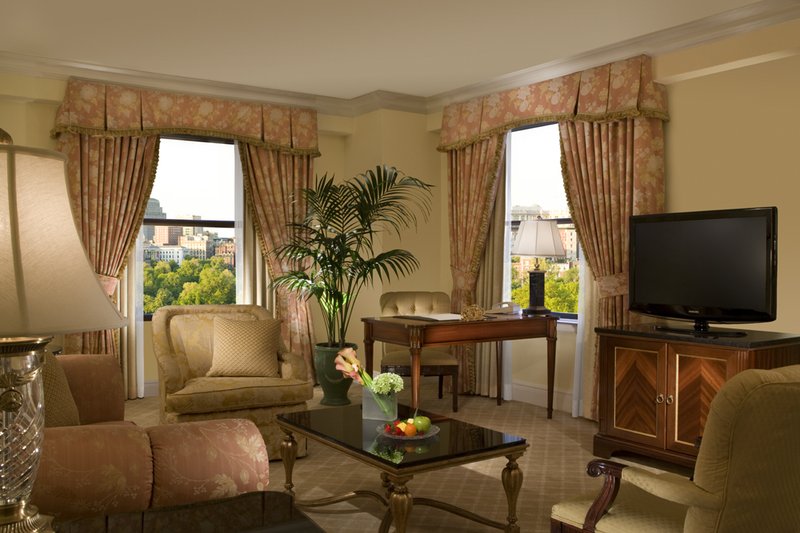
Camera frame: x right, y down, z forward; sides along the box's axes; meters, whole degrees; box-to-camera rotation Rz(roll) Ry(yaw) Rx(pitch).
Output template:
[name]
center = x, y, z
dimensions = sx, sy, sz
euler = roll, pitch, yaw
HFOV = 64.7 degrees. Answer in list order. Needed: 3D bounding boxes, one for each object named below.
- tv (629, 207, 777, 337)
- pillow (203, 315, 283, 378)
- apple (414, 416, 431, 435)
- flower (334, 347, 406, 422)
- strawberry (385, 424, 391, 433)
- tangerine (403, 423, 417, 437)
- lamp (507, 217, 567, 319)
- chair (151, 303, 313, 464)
[tv]
center = 2.232, 0.039, 4.589
dimensions = 0.119, 0.840, 0.978
euler = 5, -5, -41
[pillow]
center = -1.188, 0.643, 5.064
dimensions = 0.763, 0.647, 0.392
euler = 0, -7, -7
[apple]
center = 0.128, 0.909, 3.601
dimensions = 0.089, 0.089, 0.087
euler = 0, -4, -5
[flower]
center = -0.156, 0.723, 3.896
dimensions = 0.478, 0.451, 0.364
euler = 0, 0, -1
[strawberry]
center = -0.063, 0.925, 3.631
dimensions = 0.033, 0.041, 0.037
euler = -10, -21, 34
[tangerine]
center = 0.057, 0.930, 3.579
dimensions = 0.066, 0.067, 0.064
euler = -1, 9, 0
[lamp]
center = 1.374, -0.052, 6.220
dimensions = 0.466, 1.000, 0.932
euler = 0, 0, 13
[chair]
center = -1.324, 0.870, 4.943
dimensions = 1.244, 1.088, 1.263
euler = 0, -2, -5
